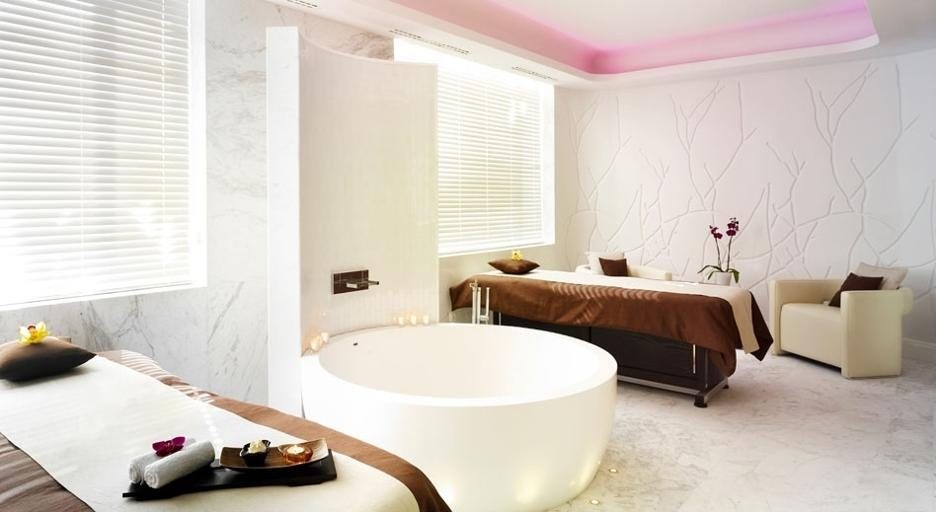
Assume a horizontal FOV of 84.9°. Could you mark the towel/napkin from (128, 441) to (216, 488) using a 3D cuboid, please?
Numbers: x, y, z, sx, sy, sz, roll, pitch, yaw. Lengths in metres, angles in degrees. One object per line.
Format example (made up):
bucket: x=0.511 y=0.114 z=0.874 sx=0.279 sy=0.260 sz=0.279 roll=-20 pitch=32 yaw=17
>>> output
towel/napkin: x=-1.602 y=1.090 z=2.836 sx=0.273 sy=0.090 sz=0.266 roll=0 pitch=8 yaw=32

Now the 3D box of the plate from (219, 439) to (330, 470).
plate: x=-1.091 y=1.144 z=2.908 sx=0.371 sy=0.055 sz=0.226 roll=-1 pitch=0 yaw=-11

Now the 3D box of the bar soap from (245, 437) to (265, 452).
bar soap: x=-1.196 y=1.066 z=2.903 sx=0.101 sy=0.032 sz=0.073 roll=-3 pitch=3 yaw=6

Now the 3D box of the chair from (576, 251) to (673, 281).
chair: x=2.119 y=0.172 z=6.721 sx=0.669 sy=0.366 sz=0.595 roll=1 pitch=-3 yaw=-30

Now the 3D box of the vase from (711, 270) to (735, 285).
vase: x=3.465 y=0.286 z=6.919 sx=0.300 sy=0.198 sz=0.264 roll=1 pitch=1 yaw=22

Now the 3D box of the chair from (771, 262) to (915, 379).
chair: x=4.636 y=0.726 z=6.249 sx=1.349 sy=1.050 sz=1.252 roll=-5 pitch=5 yaw=-15
